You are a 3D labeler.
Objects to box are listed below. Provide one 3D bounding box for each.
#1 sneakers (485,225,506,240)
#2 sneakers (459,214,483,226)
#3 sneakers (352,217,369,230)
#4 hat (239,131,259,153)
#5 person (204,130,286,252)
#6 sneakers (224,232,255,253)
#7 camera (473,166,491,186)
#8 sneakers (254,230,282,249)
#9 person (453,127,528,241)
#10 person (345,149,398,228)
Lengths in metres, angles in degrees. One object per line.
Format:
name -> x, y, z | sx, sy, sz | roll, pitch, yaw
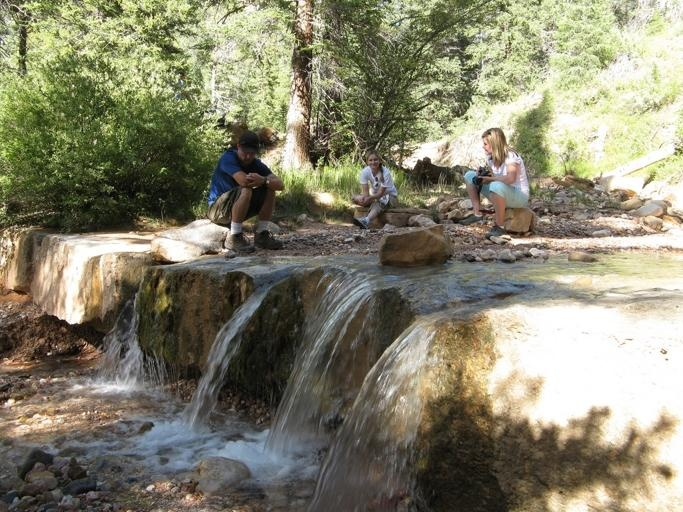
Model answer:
sneakers -> 2.071, -0.325, 7.206 | 0.350, 0.155, 0.151 | -8, 6, -40
sneakers -> 2.194, -0.618, 9.021 | 0.310, 0.133, 0.196 | -5, 3, 1
sneakers -> 0.339, -0.581, 9.291 | 0.198, 0.183, 0.529 | -1, 5, -12
hat -> -1.228, -1.474, 6.788 | 0.196, 0.154, 0.279 | 0, 23, -47
person -> -1.291, -0.887, 7.081 | 0.762, 1.622, 0.861 | -3, 6, -35
sneakers -> -1.318, -0.182, 6.899 | 0.430, 0.218, 0.194 | 6, 8, 28
camera -> 2.079, -1.188, 7.753 | 0.152, 0.319, 0.238 | 38, -1, -3
sneakers -> -0.936, -0.212, 7.125 | 0.473, 0.267, 0.173 | 2, 7, 4
person -> 2.280, -1.080, 7.782 | 0.789, 1.518, 1.712 | 0, 5, 5
person -> 0.549, -1.242, 9.705 | 0.728, 1.398, 1.044 | 2, 5, 24
